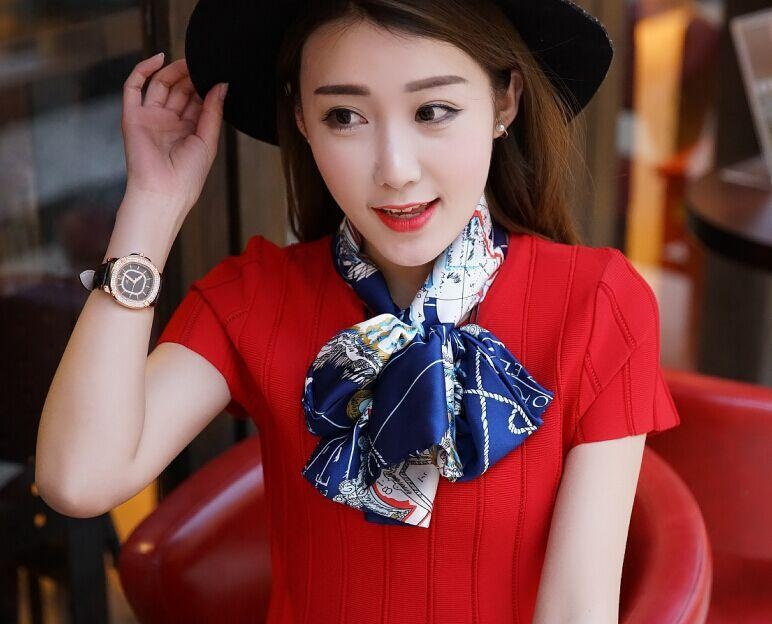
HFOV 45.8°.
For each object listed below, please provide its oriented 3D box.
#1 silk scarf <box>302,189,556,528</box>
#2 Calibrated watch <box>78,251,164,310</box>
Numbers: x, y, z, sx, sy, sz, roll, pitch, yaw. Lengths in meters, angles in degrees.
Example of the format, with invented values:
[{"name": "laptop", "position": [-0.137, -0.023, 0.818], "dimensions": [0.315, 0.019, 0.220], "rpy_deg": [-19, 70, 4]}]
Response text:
[{"name": "silk scarf", "position": [0.076, 0.075, 1.503], "dimensions": [0.391, 0.450, 0.341], "rpy_deg": [2, 17, 11]}, {"name": "Calibrated watch", "position": [-0.424, -0.023, 1.455], "dimensions": [0.102, 0.097, 0.124], "rpy_deg": [1, -3, 33]}]
